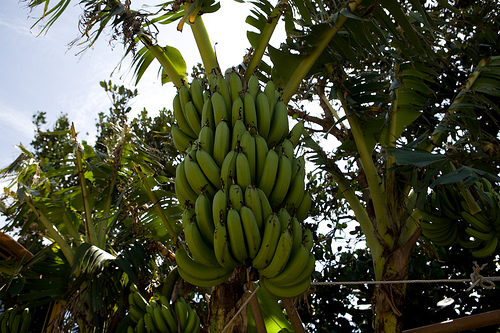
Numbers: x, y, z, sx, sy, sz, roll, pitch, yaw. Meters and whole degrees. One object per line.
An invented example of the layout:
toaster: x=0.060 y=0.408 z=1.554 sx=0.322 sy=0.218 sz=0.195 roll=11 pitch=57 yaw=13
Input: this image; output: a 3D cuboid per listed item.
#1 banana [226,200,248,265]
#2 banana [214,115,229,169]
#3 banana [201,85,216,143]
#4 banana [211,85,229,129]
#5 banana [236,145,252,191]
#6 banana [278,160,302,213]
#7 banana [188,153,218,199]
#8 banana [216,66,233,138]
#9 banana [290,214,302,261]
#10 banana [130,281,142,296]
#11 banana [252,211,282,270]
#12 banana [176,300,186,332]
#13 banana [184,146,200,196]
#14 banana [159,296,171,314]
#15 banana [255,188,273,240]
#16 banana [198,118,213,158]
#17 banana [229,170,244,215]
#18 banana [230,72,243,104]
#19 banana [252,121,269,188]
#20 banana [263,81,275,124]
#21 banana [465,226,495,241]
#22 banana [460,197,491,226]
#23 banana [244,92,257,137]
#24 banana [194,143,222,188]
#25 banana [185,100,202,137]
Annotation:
banana: x=-0.116 y=0.730 z=4.931 sx=0.140 sy=0.722 sz=0.220 roll=-8 pitch=8 yaw=8
banana: x=-0.313 y=-0.266 z=5.140 sx=0.116 sy=0.558 sz=0.188 roll=3 pitch=3 yaw=-1
banana: x=-0.468 y=-0.604 z=5.285 sx=0.097 sy=0.576 sz=0.134 roll=1 pitch=4 yaw=6
banana: x=-0.343 y=-0.661 z=5.324 sx=0.109 sy=0.521 sz=0.175 roll=-7 pitch=-1 yaw=11
banana: x=-0.055 y=0.016 z=4.984 sx=0.104 sy=0.456 sz=0.140 roll=-5 pitch=2 yaw=8
banana: x=0.484 y=0.187 z=5.186 sx=0.132 sy=0.613 sz=0.224 roll=23 pitch=-10 yaw=-27
banana: x=-0.509 y=0.112 z=5.049 sx=0.101 sy=0.451 sz=0.158 roll=-32 pitch=-6 yaw=27
banana: x=-0.286 y=-0.784 z=5.441 sx=0.126 sy=0.862 sz=0.145 roll=-7 pitch=-10 yaw=0
banana: x=0.500 y=0.769 z=4.989 sx=0.132 sy=0.429 sz=0.101 roll=-1 pitch=-1 yaw=20
banana: x=-1.584 y=1.653 z=6.373 sx=0.060 sy=0.089 sz=0.255 roll=-33 pitch=-78 yaw=33
banana: x=0.147 y=0.889 z=4.946 sx=0.226 sy=0.547 sz=0.142 roll=35 pitch=-57 yaw=-20
banana: x=-0.890 y=1.958 z=6.120 sx=0.088 sy=0.380 sz=0.123 roll=-9 pitch=-6 yaw=-38
banana: x=-0.644 y=0.024 z=5.158 sx=0.197 sy=0.581 sz=0.142 roll=-8 pitch=-6 yaw=-15
banana: x=-1.105 y=1.774 z=6.070 sx=0.058 sy=0.265 sz=0.064 roll=-27 pitch=-6 yaw=20
banana: x=0.161 y=0.512 z=5.035 sx=0.111 sy=0.526 sz=0.161 roll=-13 pitch=-2 yaw=34
banana: x=-0.486 y=-0.307 z=5.178 sx=0.098 sy=0.421 sz=0.142 roll=-3 pitch=-1 yaw=5
banana: x=-0.147 y=0.315 z=4.915 sx=0.090 sy=0.376 sz=0.123 roll=-12 pitch=-5 yaw=31
banana: x=-0.167 y=-0.921 z=5.463 sx=0.093 sy=0.369 sz=0.120 roll=-10 pitch=-8 yaw=25
banana: x=0.108 y=-0.125 z=5.108 sx=0.118 sy=0.572 sz=0.188 roll=-5 pitch=-3 yaw=31
banana: x=0.239 y=-0.759 z=5.421 sx=0.094 sy=0.456 sz=0.141 roll=-3 pitch=-3 yaw=11
banana: x=3.173 y=0.937 z=6.433 sx=0.378 sy=0.103 sz=0.176 roll=2 pitch=-41 yaw=12
banana: x=3.014 y=0.587 z=6.199 sx=0.449 sy=0.117 sz=0.099 roll=49 pitch=-53 yaw=0
banana: x=-0.011 y=-0.586 z=5.247 sx=0.112 sy=0.479 sz=0.147 roll=-3 pitch=-6 yaw=-25
banana: x=-0.459 y=0.002 z=5.073 sx=0.106 sy=0.446 sz=0.140 roll=-28 pitch=0 yaw=30
banana: x=-0.651 y=-0.569 z=5.403 sx=0.115 sy=0.499 sz=0.167 roll=-12 pitch=6 yaw=21
